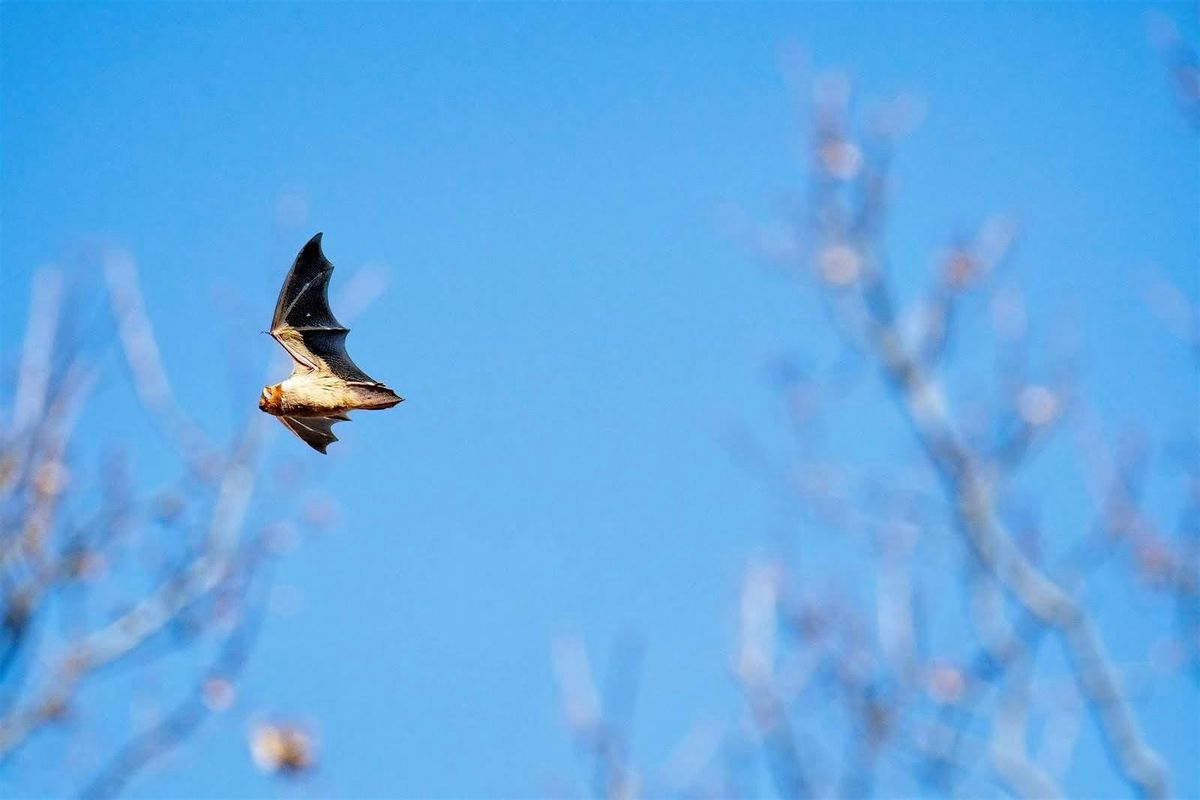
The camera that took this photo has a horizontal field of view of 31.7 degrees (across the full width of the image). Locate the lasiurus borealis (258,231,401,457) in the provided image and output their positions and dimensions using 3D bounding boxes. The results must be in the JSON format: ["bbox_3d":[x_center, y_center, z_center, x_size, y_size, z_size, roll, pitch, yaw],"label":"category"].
[{"bbox_3d":[-0.653,-0.137,4.986,0.316,0.518,0.340,26,-50,-34],"label":"lasiurus borealis"}]
